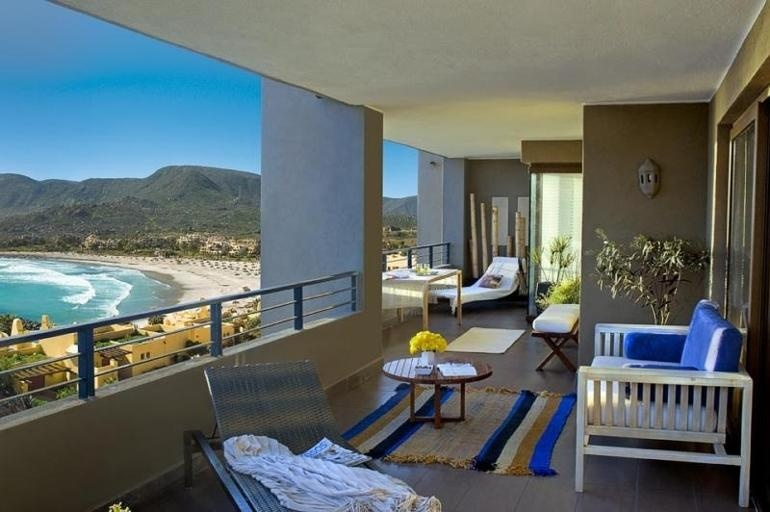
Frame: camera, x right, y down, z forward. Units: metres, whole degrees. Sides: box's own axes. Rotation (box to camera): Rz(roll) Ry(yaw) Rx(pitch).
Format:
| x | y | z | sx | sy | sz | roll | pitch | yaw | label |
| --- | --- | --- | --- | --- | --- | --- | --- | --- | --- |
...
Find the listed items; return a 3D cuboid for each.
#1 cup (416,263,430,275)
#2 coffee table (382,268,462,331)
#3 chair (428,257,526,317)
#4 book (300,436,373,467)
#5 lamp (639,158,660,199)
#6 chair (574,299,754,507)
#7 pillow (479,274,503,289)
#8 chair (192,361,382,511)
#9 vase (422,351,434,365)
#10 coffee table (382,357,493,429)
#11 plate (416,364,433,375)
| x | y | z | sx | sy | sz | roll | pitch | yaw | label |
| --- | --- | --- | --- | --- | --- | --- | --- | --- | --- |
| 0.698 | 0.229 | 9.066 | 0.215 | 0.139 | 0.205 | -3 | 3 | 0 | cup |
| 0.776 | 0.783 | 9.399 | 1.337 | 1.075 | 2.626 | 3 | 7 | 26 | coffee table |
| 1.979 | 0.572 | 10.433 | 1.945 | 0.935 | 1.055 | -7 | 7 | -25 | chair |
| -0.399 | 1.437 | 3.509 | 0.492 | 0.072 | 0.358 | 5 | 8 | 42 | book |
| 3.380 | -1.005 | 6.148 | 0.272 | 0.477 | 0.110 | 2 | 8 | 15 | lamp |
| 2.304 | 1.149 | 4.256 | 1.353 | 1.244 | 2.285 | 0 | 0 | 21 | chair |
| 2.265 | 0.521 | 10.315 | 0.439 | 0.248 | 0.239 | 1 | 7 | 13 | pillow |
| -0.801 | 1.196 | 3.540 | 1.034 | 0.576 | 1.124 | -4 | 7 | -30 | chair |
| 0.450 | 1.046 | 5.038 | 0.142 | 0.133 | 0.137 | 0 | 7 | 3 | vase |
| 0.573 | 1.318 | 5.113 | 0.854 | 0.393 | 0.808 | 0 | 7 | 8 | coffee table |
| 0.405 | 1.146 | 4.936 | 0.192 | 0.061 | 0.200 | 0 | 6 | 5 | plate |
